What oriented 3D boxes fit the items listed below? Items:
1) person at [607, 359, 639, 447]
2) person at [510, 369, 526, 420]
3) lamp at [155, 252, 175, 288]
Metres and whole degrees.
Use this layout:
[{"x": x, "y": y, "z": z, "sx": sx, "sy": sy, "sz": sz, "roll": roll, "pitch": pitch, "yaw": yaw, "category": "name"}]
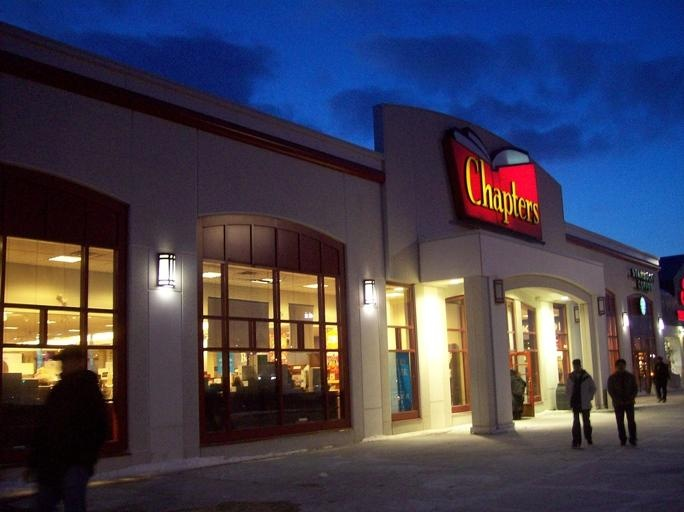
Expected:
[{"x": 6.871, "y": 3.538, "z": 14.204, "sx": 0.629, "sy": 2.007, "sz": 0.500, "roll": -8, "pitch": -14, "yaw": 25, "category": "person"}, {"x": 7.072, "y": 5.502, "z": 23.354, "sx": 0.495, "sy": 1.928, "sz": 1.366, "roll": -7, "pitch": -13, "yaw": 20, "category": "person"}, {"x": -4.258, "y": 0.298, "z": 13.635, "sx": 0.423, "sy": 0.792, "sz": 0.484, "roll": 1, "pitch": 1, "yaw": 18, "category": "lamp"}]
